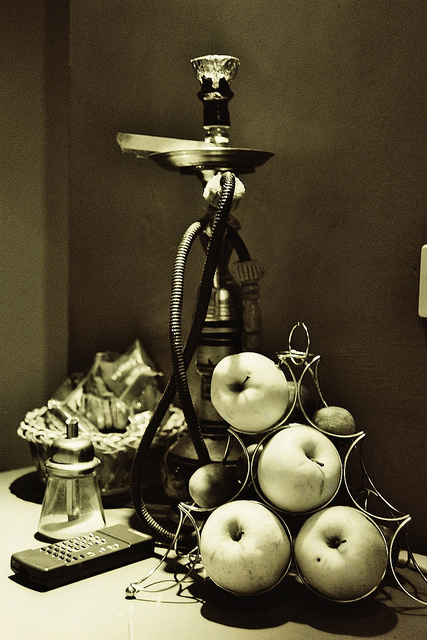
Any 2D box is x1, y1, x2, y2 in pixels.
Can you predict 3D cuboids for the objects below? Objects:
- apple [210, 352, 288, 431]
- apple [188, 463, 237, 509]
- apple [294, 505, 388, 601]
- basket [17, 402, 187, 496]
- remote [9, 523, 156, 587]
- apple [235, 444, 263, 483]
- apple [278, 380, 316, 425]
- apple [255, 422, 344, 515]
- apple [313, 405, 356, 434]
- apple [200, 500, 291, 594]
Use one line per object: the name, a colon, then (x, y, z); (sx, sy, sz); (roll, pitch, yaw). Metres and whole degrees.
apple: (0.033, 0.081, 0.695); (0.055, 0.060, 0.057); (-37, 48, -19)
apple: (-0.001, 0.172, 0.712); (0.042, 0.042, 0.049); (-6, -17, -1)
apple: (0.116, 0.216, 0.639); (0.074, 0.075, 0.078); (-6, -23, 17)
basket: (-0.150, 0.188, 1.059); (0.257, 0.108, 0.285); (-4, -3, 21)
remote: (-0.134, 0.238, 0.745); (0.114, 0.023, 0.057); (-4, 7, -34)
apple: (0.032, 0.139, 0.671); (0.019, 0.035, 0.027); (15, -2, 9)
apple: (0.084, 0.083, 0.726); (0.043, 0.052, 0.044); (0, 2, 4)
apple: (0.078, 0.137, 0.693); (0.074, 0.090, 0.078); (28, 53, 20)
apple: (0.116, 0.101, 0.686); (0.026, 0.018, 0.032); (2, -15, 34)
apple: (0.027, 0.209, 0.635); (0.071, 0.069, 0.060); (12, 18, 39)
